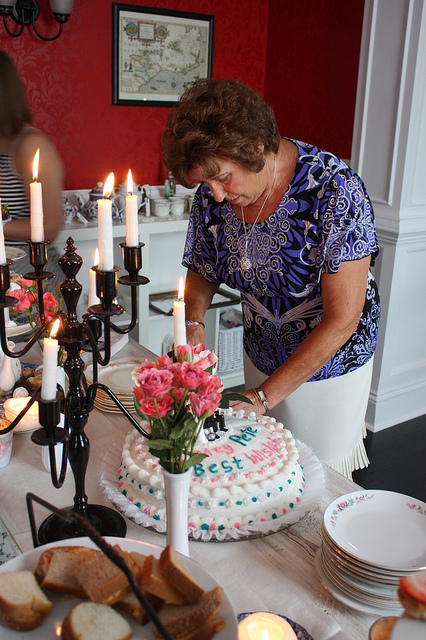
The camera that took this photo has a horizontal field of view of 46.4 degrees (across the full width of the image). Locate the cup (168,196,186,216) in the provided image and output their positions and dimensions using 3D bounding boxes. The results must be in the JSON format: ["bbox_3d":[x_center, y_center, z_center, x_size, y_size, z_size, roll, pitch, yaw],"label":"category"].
[{"bbox_3d":[-0.264,-0.827,3.652,0.116,0.117,0.142,-6,18,-22],"label":"cup"}]

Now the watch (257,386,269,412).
[{"bbox_3d":[0.130,0.203,1.284,0.014,0.044,0.048,-13,-4,12],"label":"watch"}]

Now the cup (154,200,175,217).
[{"bbox_3d":[-0.363,-0.811,3.620,0.156,0.105,0.101,-4,8,-33],"label":"cup"}]
